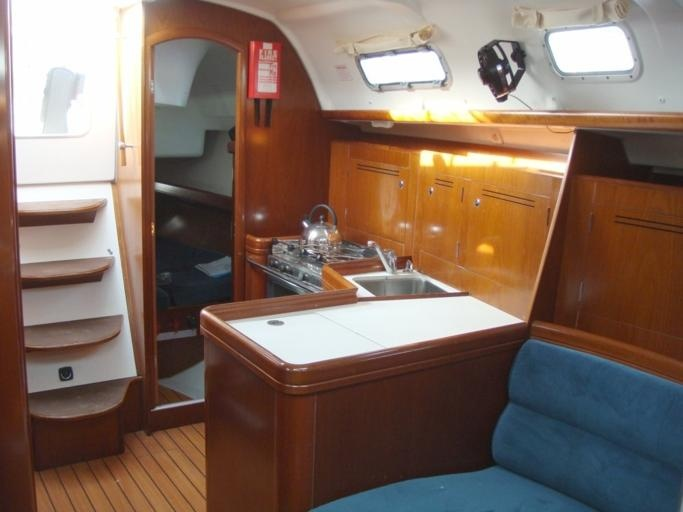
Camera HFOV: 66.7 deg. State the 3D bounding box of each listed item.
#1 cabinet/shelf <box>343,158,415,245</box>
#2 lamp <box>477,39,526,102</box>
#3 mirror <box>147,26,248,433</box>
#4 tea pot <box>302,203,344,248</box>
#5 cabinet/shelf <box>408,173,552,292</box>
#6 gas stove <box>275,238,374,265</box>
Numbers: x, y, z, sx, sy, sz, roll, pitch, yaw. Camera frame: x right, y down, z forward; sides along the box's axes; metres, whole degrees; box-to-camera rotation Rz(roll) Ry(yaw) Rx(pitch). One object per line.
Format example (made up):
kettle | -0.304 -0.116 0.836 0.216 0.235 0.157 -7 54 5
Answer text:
cabinet/shelf | 0.283 -0.395 3.668 0.163 0.509 0.506 -9 20 -29
lamp | 0.744 -0.870 2.400 0.240 0.183 0.106 -31 23 6
mirror | -1.339 -0.445 4.779 0.821 2.943 2.995 -3 12 -18
tea pot | -0.140 -0.242 3.929 0.240 0.392 0.370 -7 15 -39
cabinet/shelf | 0.780 -0.131 2.829 0.214 0.537 0.589 -2 17 -33
gas stove | -0.147 -0.058 3.775 0.759 0.116 0.564 1 12 -3
